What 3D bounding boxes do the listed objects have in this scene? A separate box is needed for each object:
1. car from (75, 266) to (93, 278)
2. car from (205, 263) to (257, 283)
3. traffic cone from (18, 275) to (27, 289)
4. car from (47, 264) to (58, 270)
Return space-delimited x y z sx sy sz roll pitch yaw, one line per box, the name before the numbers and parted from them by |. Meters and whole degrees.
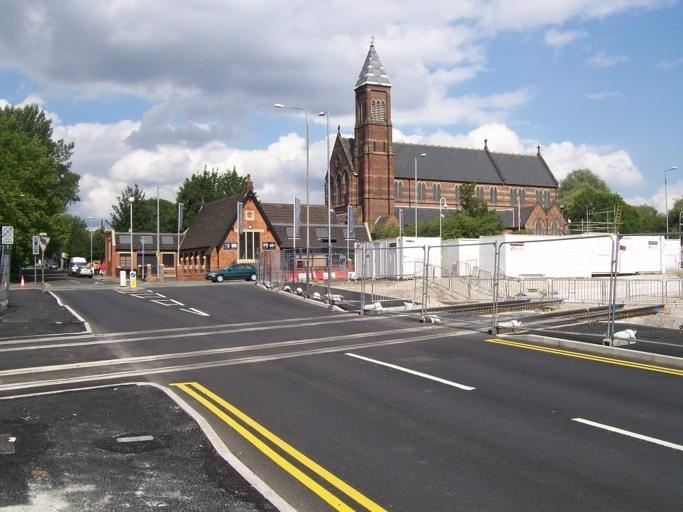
car | -26.648 1.664 70.920 1.298 1.078 3.031 -2 6 -23
car | -8.126 1.333 51.362 3.380 1.288 1.593 3 -4 -27
traffic cone | -25.226 2.074 53.863 0.596 0.879 0.636 0 -4 -2
car | -52.869 2.148 125.004 1.214 0.889 2.313 0 -1 -33
